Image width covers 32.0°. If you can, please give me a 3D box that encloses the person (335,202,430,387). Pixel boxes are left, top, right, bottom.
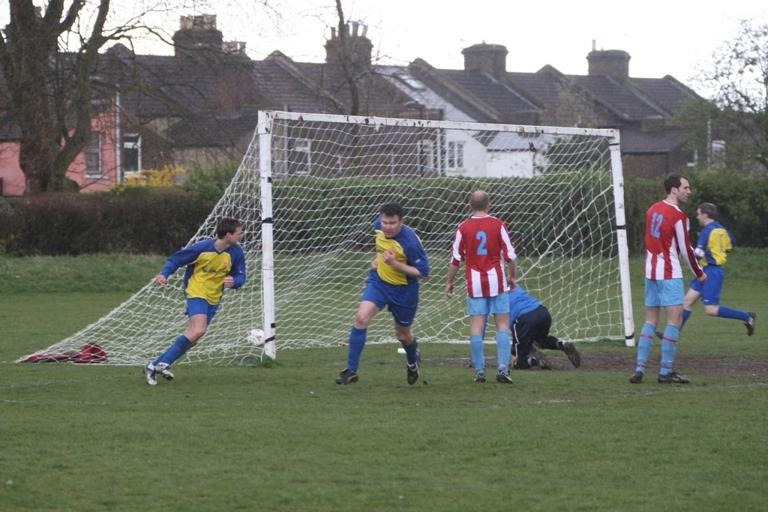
[{"bbox_3d":[0.065,0.668,23.752,1.356,2.796,0.533,2,1,-2],"label":"person"}]

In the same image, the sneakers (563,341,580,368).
[{"bbox_3d":[3.457,1.805,24.780,0.241,0.548,0.267,-21,-2,-13],"label":"sneakers"}]

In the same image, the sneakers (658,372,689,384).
[{"bbox_3d":[5.108,2.157,23.759,0.577,0.221,0.196,0,-2,3],"label":"sneakers"}]

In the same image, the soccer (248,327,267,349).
[{"bbox_3d":[-2.470,1.584,25.937,0.391,0.342,0.271,-9,-29,19],"label":"soccer"}]

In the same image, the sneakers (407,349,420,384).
[{"bbox_3d":[0.537,1.986,23.958,0.219,0.556,0.258,2,5,14],"label":"sneakers"}]

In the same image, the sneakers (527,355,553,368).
[{"bbox_3d":[2.894,1.954,24.896,0.354,0.127,0.245,3,-8,13],"label":"sneakers"}]

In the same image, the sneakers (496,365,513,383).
[{"bbox_3d":[2.119,2.124,23.803,0.163,0.164,0.404,1,-8,25],"label":"sneakers"}]

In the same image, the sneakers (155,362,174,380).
[{"bbox_3d":[-3.947,2.059,23.993,0.307,0.253,0.216,2,0,-7],"label":"sneakers"}]

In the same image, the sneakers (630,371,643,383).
[{"bbox_3d":[4.484,2.148,23.827,0.158,0.111,0.271,0,15,20],"label":"sneakers"}]

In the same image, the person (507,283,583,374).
[{"bbox_3d":[2.770,1.279,24.961,0.997,1.012,1.923,-23,28,-18],"label":"person"}]
